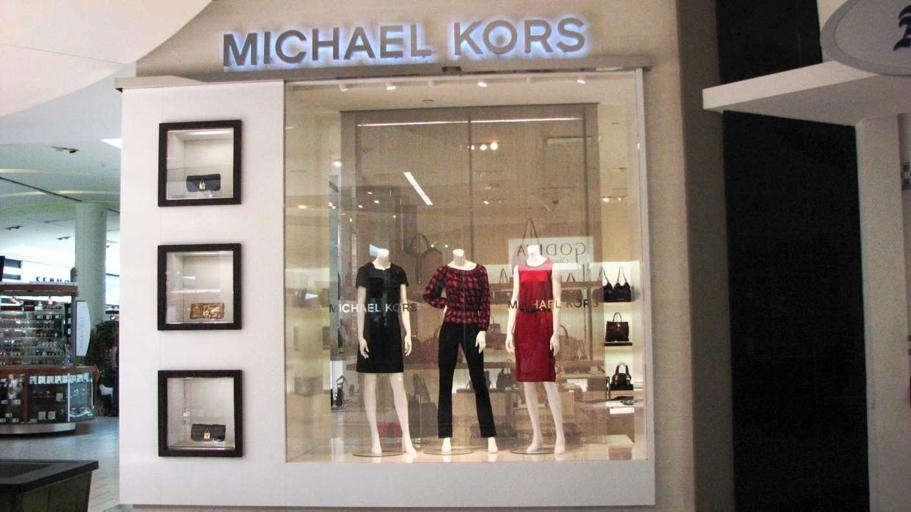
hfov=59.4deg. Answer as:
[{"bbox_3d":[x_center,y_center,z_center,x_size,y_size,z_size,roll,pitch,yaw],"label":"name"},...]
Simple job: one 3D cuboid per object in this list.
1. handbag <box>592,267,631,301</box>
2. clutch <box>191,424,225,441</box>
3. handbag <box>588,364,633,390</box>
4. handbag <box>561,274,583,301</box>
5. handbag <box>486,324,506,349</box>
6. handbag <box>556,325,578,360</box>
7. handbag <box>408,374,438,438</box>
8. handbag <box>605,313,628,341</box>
[{"bbox_3d":[1.859,0.362,9.573,0.363,0.210,0.540,-2,-7,2],"label":"handbag"},{"bbox_3d":[-2.996,2.148,9.698,0.438,0.223,0.037,-3,-4,7],"label":"clutch"},{"bbox_3d":[1.867,1.497,9.660,0.397,0.224,0.381,0,-5,1],"label":"handbag"},{"bbox_3d":[1.413,0.366,9.679,0.379,0.342,0.268,1,3,12],"label":"handbag"},{"bbox_3d":[0.483,0.982,9.742,0.262,0.244,0.252,3,-2,-8],"label":"handbag"},{"bbox_3d":[1.340,1.059,9.576,0.396,0.445,0.206,-2,-10,2],"label":"handbag"},{"bbox_3d":[-0.384,1.842,9.605,0.339,0.868,0.698,-3,-5,1],"label":"handbag"},{"bbox_3d":[1.905,0.854,9.549,0.353,0.394,0.108,0,2,3],"label":"handbag"}]
